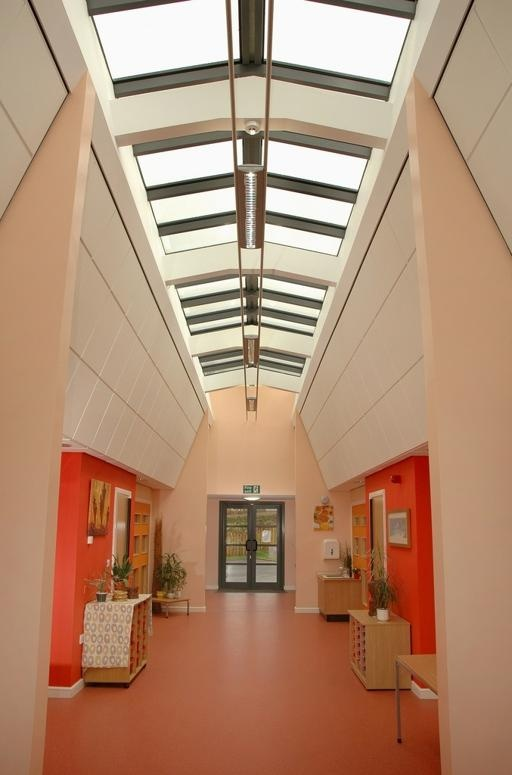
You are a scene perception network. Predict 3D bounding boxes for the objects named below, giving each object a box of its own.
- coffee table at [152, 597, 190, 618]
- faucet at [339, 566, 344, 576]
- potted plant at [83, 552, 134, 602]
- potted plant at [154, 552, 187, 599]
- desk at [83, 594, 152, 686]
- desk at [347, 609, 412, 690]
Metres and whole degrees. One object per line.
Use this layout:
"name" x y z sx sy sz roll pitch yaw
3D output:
"coffee table" -2.116 5.431 10.356 1.009 0.443 0.956 1 -21 -5
"faucet" 2.130 4.557 10.318 0.103 0.259 0.151 0 -6 0
"potted plant" -2.103 2.822 6.036 0.384 0.734 0.534 -3 -10 13
"potted plant" -2.096 4.701 10.508 0.516 1.452 0.805 1 -9 2
"desk" -1.886 3.009 5.796 0.550 1.355 1.427 0 -9 1
"desk" 1.616 3.499 5.530 0.928 0.846 0.674 -14 -22 35
